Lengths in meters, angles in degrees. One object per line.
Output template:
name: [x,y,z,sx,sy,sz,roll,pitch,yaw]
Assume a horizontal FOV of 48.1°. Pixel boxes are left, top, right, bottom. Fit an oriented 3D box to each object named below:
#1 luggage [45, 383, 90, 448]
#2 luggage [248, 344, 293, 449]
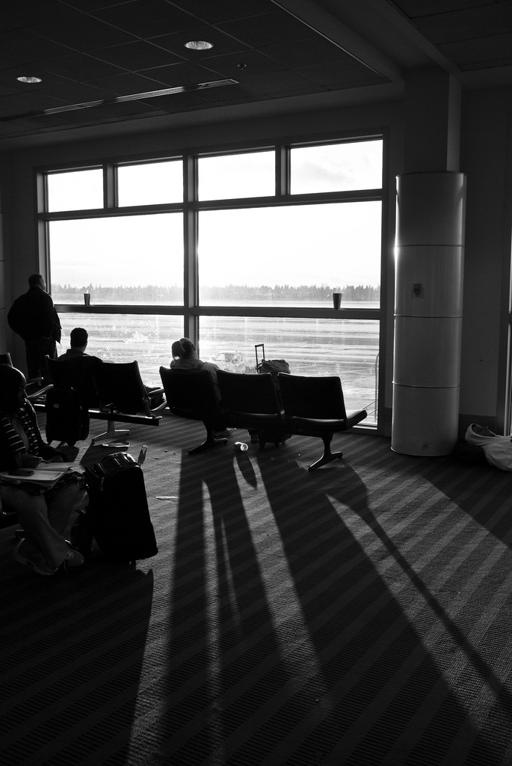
luggage: [-1.583,0.261,4.762,0.257,0.466,0.216,4,10,9]
luggage: [0.052,0.087,6.487,0.295,1.019,0.384,9,12,30]
